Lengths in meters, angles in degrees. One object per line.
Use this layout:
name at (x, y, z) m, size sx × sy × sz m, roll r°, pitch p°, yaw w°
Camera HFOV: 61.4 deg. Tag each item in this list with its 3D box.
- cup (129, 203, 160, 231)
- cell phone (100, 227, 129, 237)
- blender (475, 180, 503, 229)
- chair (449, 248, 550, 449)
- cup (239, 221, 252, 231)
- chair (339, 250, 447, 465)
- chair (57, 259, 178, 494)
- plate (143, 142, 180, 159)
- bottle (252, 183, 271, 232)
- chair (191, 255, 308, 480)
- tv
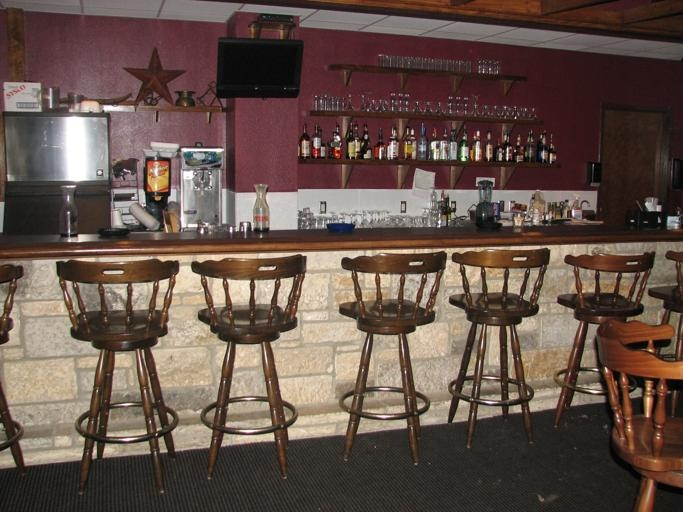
cup at (-1.571, -0.303, 4.614) m, size 0.185 × 0.260 × 0.360 m, roll -3°, pitch 15°, yaw -14°
cell phone at (-1.467, -0.151, 3.709) m, size 0.179 × 0.058 × 0.094 m, roll -2°, pitch 15°, yaw -12°
blender at (1.197, -0.429, 4.663) m, size 0.198 × 0.341 × 0.534 m, roll 4°, pitch 15°, yaw 13°
chair at (1.046, 0.520, 3.942) m, size 0.632 × 1.286 × 1.015 m, roll 6°, pitch 16°, yaw 17°
cup at (-0.681, -0.208, 4.094) m, size 0.080 × 0.062 × 0.076 m, roll 3°, pitch 7°, yaw 0°
chair at (0.308, 0.544, 3.741) m, size 0.652 × 1.292 × 0.914 m, roll 3°, pitch 15°, yaw 9°
chair at (-1.264, 0.612, 3.384) m, size 0.627 × 1.303 × 0.910 m, roll -6°, pitch 17°, yaw -23°
plate at (-1.884, -1.106, 6.015) m, size 0.332 × 0.162 × 0.370 m, roll -4°, pitch 15°, yaw -19°
bottle at (-0.564, -0.340, 4.032) m, size 0.107 × 0.337 × 0.212 m, roll -1°, pitch 15°, yaw -9°
chair at (-0.543, 0.588, 3.494) m, size 0.637 × 1.290 × 0.833 m, roll -3°, pitch 16°, yaw -14°
tv at (-0.772, -1.770, 5.401) m, size 0.791 × 0.514 × 0.078 m, roll 0°, pitch 41°, yaw -10°
